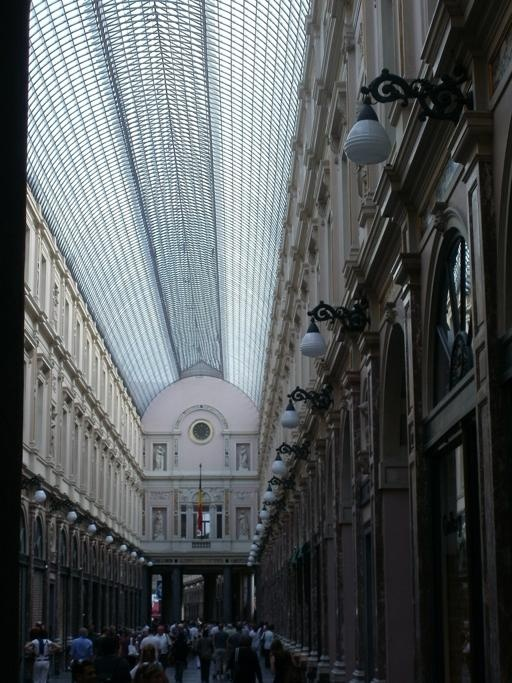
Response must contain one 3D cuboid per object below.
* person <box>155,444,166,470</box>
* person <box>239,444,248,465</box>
[{"bbox_3d":[-7.211,8.801,70.323,0.773,2.895,0.712,1,-24,-5],"label":"person"},{"bbox_3d":[-0.928,8.576,70.294,0.643,2.115,0.515,-1,-22,1],"label":"person"}]
